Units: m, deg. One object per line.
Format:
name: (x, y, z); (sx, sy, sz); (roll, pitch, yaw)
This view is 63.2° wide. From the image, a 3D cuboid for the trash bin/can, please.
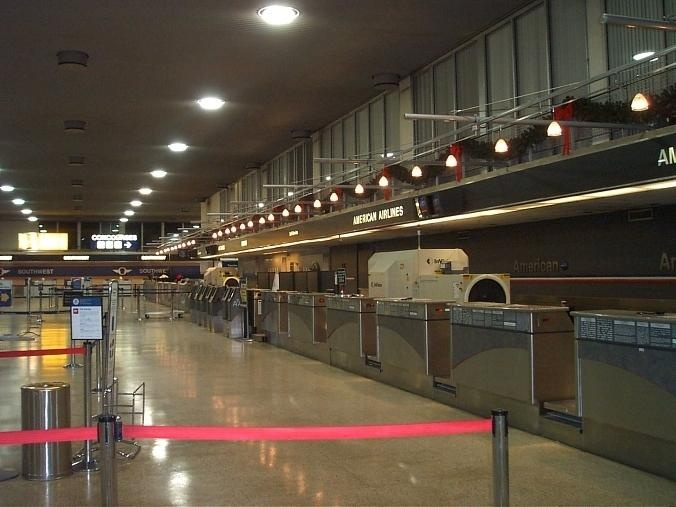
trash bin/can: (-2.640, 1.576, 4.925); (0.415, 0.810, 0.304); (-2, -4, -21)
